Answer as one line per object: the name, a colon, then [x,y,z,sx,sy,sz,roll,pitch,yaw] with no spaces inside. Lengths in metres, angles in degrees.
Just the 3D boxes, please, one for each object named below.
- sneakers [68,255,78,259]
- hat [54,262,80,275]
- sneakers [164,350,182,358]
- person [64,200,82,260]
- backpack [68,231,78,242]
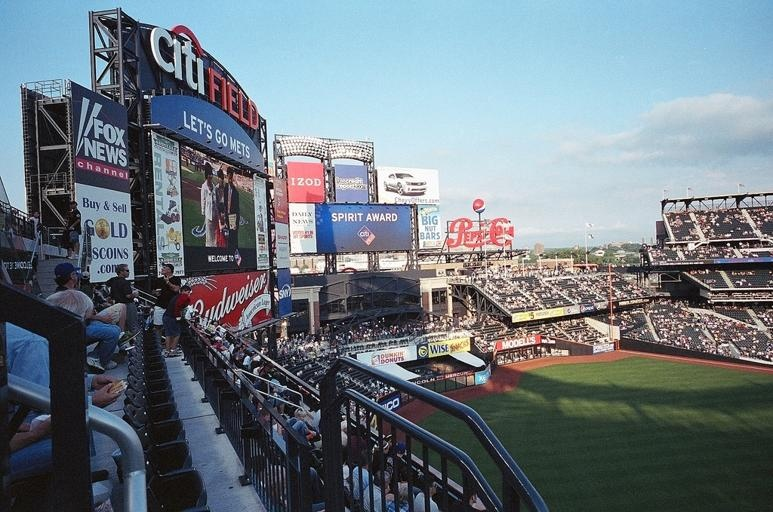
sneakers: [-8.529,0.033,13.666,0.216,0.116,0.382,-2,0,-34]
hat: [-4.706,0.196,7.370,0.234,0.149,0.221,-2,0,-36]
sneakers: [-5.544,2.519,12.967,0.487,0.191,0.172,-2,6,-10]
person: [-8.603,-0.713,13.824,0.345,1.246,1.069,-2,0,-33]
backpack: [-8.587,-0.531,13.811,0.213,0.233,0.089,-2,0,-31]
